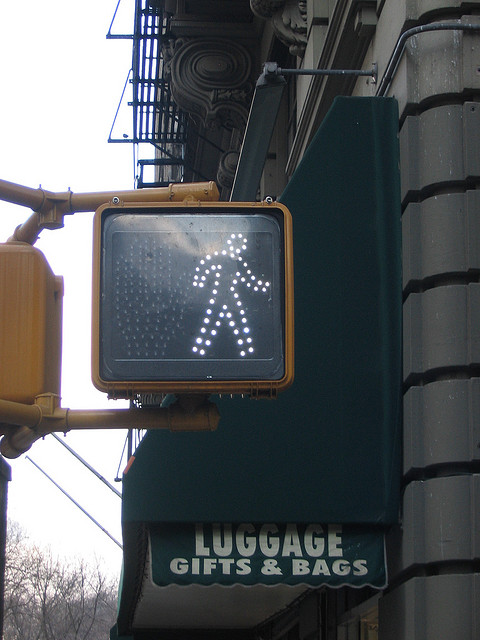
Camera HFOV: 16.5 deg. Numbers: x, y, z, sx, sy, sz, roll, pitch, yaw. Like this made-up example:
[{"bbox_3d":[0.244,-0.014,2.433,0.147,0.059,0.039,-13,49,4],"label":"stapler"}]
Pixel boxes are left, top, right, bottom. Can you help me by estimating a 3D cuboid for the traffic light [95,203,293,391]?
[{"bbox_3d":[-0.235,-0.070,8.498,0.571,0.144,0.958,0,86,2],"label":"traffic light"}]
